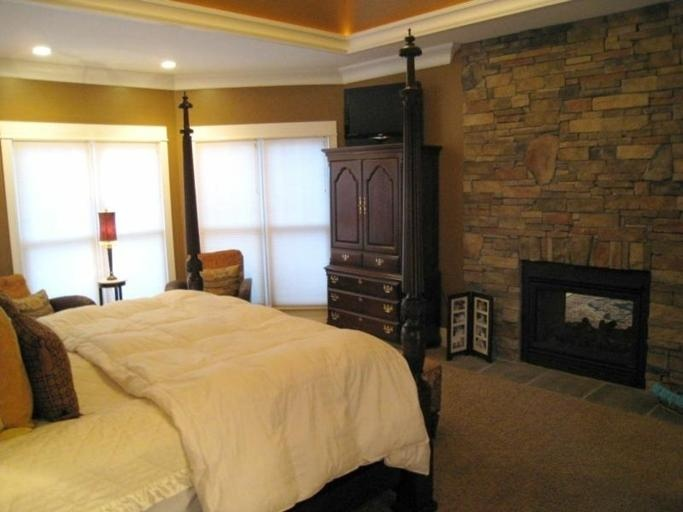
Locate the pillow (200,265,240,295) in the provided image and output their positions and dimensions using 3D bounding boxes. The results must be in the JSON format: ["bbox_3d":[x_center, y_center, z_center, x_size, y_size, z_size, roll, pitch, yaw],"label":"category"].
[{"bbox_3d":[-1.259,0.262,5.678,0.321,0.311,0.105,7,-15,-14],"label":"pillow"}]

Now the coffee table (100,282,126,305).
[{"bbox_3d":[-2.305,0.374,5.405,0.214,0.227,0.212,-3,5,-18],"label":"coffee table"}]

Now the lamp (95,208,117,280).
[{"bbox_3d":[-2.397,-0.112,5.560,0.174,0.697,0.458,-5,8,-23],"label":"lamp"}]

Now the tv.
[{"bbox_3d":[0.327,-1.478,5.626,0.762,0.600,0.123,3,9,36],"label":"tv"}]

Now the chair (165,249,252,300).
[{"bbox_3d":[-1.383,0.185,5.727,0.654,0.797,0.654,-2,-5,-7],"label":"chair"}]
